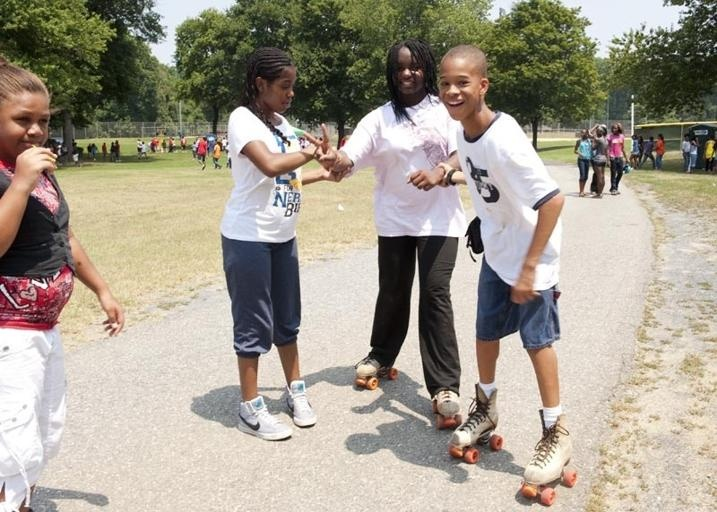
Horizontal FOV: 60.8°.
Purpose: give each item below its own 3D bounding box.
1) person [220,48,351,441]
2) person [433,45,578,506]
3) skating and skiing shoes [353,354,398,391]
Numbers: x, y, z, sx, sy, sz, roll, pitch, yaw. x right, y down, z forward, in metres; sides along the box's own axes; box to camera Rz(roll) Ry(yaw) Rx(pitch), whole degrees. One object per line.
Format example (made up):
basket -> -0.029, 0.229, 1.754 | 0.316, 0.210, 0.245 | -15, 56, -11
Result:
person -> -0.650, -0.103, 4.653 | 0.690, 2.878, 0.739 | 5, 13, 28
person -> 0.974, 0.058, 4.001 | 0.986, 2.835, 0.541 | 11, 16, 44
skating and skiing shoes -> 0.139, 1.012, 5.442 | 0.226, 0.246, 0.458 | 4, 9, 36
